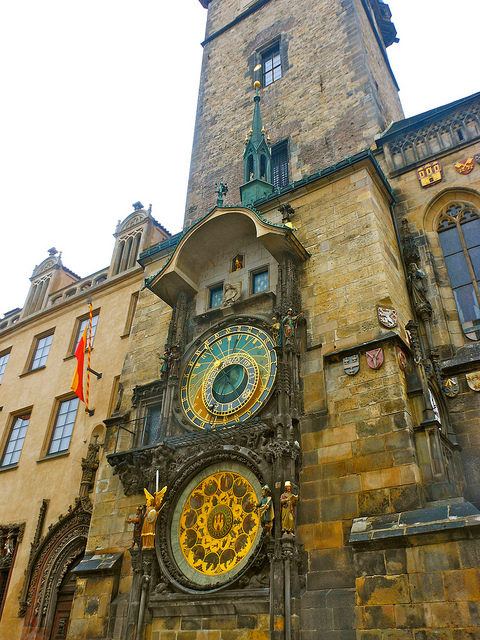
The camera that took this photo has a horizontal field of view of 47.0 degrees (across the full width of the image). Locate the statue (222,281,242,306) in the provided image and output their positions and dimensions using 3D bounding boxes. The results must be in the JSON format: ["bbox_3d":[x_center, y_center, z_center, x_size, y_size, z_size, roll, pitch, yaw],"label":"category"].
[{"bbox_3d":[-0.187,-0.645,13.297,0.446,0.554,0.151,-29,-54,25],"label":"statue"}]

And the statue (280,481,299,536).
[{"bbox_3d":[0.830,3.023,8.960,0.330,0.887,0.363,16,-38,-22],"label":"statue"}]

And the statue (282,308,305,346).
[{"bbox_3d":[1.076,0.151,11.387,0.198,0.970,0.469,-23,-41,30],"label":"statue"}]

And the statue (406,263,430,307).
[{"bbox_3d":[4.031,-0.801,12.484,0.486,1.281,0.325,-12,-36,16],"label":"statue"}]

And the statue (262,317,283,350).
[{"bbox_3d":[0.725,0.286,11.344,0.171,0.832,0.348,13,-37,-18],"label":"statue"}]

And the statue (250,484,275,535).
[{"bbox_3d":[0.401,3.096,9.054,0.268,0.759,0.210,-28,-43,34],"label":"statue"}]

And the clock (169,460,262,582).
[{"bbox_3d":[-0.398,3.626,9.861,1.758,1.756,0.103,-34,-53,23],"label":"clock"}]

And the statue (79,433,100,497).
[{"bbox_3d":[-4.658,4.411,17.069,0.638,2.063,0.428,-18,-39,24],"label":"statue"}]

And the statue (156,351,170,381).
[{"bbox_3d":[-1.867,1.112,13.360,0.237,0.842,0.324,25,-45,-24],"label":"statue"}]

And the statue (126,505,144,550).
[{"bbox_3d":[-2.072,4.054,10.773,0.275,0.829,0.618,6,-35,-9],"label":"statue"}]

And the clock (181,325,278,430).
[{"bbox_3d":[-0.178,1.238,11.593,2.311,2.271,0.370,-7,-43,40],"label":"clock"}]

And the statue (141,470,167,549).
[{"bbox_3d":[-1.660,3.618,10.596,0.449,1.397,0.353,1,-35,-2],"label":"statue"}]
